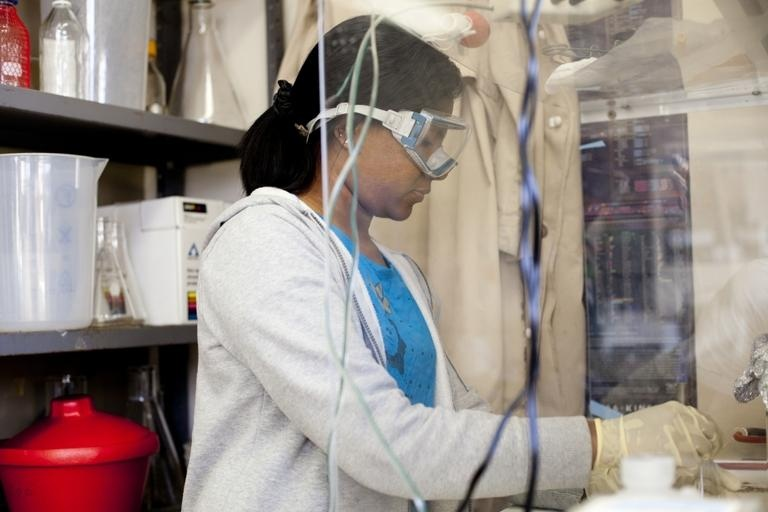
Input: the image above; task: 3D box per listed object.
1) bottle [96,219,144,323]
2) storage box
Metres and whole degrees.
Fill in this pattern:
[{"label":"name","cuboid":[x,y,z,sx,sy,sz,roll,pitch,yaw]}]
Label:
[{"label":"bottle","cuboid":[-0.636,0.043,1.849,0.140,0.225,0.051,2,-13,-40]},{"label":"storage box","cuboid":[-0.549,0.002,2.137,0.398,0.414,0.297,-2,3,14]}]
